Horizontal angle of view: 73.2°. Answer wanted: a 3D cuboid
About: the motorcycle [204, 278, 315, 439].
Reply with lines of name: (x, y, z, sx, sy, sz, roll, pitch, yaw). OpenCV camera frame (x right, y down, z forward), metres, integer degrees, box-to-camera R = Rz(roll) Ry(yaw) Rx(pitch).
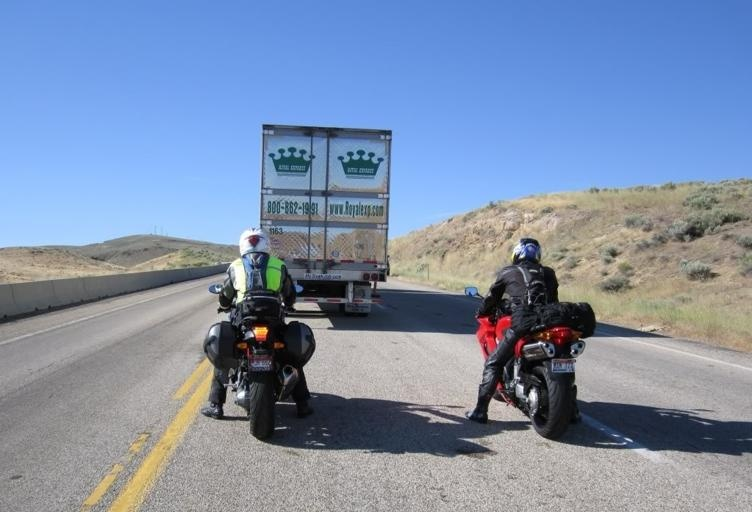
motorcycle: (-1.488, 1.238, 6.299, 0.990, 1.221, 2.086, 1, -3, -8)

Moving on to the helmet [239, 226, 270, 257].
helmet: (-1.617, -0.191, 6.742, 0.383, 0.367, 0.538, 0, 3, -13)

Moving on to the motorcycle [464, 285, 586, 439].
motorcycle: (2.169, 1.383, 7.048, 1.245, 1.754, 1.953, -1, 3, -17)

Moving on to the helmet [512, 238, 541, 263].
helmet: (2.128, -0.069, 7.088, 0.301, 0.436, 0.388, 4, 17, 5)

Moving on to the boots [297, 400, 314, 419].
boots: (-0.992, 2.088, 7.099, 0.137, 0.285, 0.287, 10, 20, 26)

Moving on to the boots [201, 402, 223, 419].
boots: (-2.237, 2.098, 6.911, 0.251, 0.198, 0.113, 21, 14, 16)
